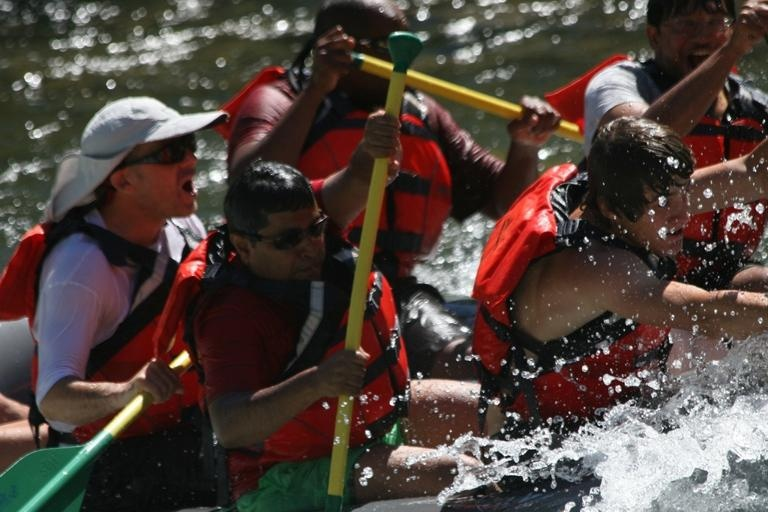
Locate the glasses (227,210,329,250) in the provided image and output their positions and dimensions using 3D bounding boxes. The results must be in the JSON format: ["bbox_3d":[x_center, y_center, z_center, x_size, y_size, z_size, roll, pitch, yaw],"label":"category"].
[{"bbox_3d":[-0.403,-0.073,4.022,0.362,0.100,0.082,-9,13,-5],"label":"glasses"}]

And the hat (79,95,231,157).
[{"bbox_3d":[-1.026,-0.550,4.381,0.412,0.157,0.293,-19,6,4],"label":"hat"}]
